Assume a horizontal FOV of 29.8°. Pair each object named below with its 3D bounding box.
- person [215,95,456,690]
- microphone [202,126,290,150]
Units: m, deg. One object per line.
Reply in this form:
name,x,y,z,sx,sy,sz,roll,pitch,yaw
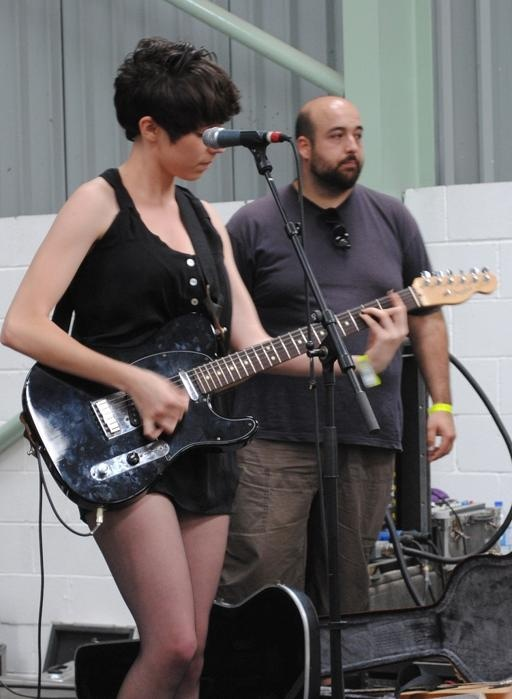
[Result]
person,0.222,0.159,2.557,0.625,1.588,0.524,-7,21,-23
microphone,-0.032,-0.426,1.945,0.249,0.066,0.060,-2,10,-7
